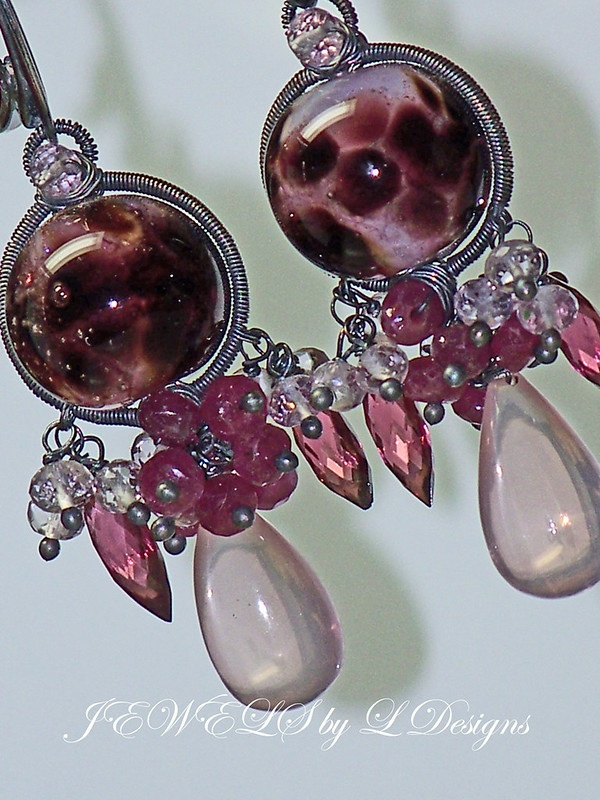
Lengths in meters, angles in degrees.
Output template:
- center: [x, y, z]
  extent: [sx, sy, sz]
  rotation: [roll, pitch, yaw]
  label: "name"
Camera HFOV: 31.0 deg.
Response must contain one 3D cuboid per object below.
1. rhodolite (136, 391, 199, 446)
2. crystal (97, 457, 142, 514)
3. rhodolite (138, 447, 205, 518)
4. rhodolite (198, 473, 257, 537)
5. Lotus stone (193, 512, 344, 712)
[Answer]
- center: [-0.123, 0.017, 0.935]
  extent: [0.062, 0.044, 0.033]
  rotation: [8, -55, -48]
  label: "rhodolite"
- center: [-0.156, 0.075, 0.931]
  extent: [0.044, 0.039, 0.032]
  rotation: [1, -2, -10]
  label: "crystal"
- center: [-0.107, 0.069, 0.890]
  extent: [0.063, 0.050, 0.036]
  rotation: [8, -8, -10]
  label: "rhodolite"
- center: [-0.056, 0.091, 0.925]
  extent: [0.051, 0.052, 0.057]
  rotation: [-11, -27, 21]
  label: "rhodolite"
- center: [-0.032, 0.186, 0.985]
  extent: [0.112, 0.183, 0.074]
  rotation: [-26, -13, -7]
  label: "Lotus stone"
